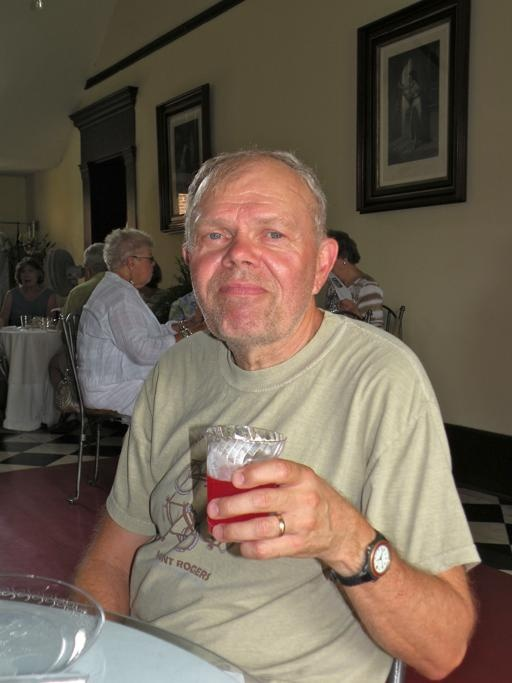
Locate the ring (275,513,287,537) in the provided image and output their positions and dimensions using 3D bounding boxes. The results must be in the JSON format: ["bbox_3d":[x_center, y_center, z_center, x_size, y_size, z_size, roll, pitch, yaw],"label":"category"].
[{"bbox_3d":[0.023,0.186,0.573,0.013,0.024,0.006,-3,5,-25],"label":"ring"}]

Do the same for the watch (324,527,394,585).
[{"bbox_3d":[0.128,0.275,0.718,0.067,0.038,0.070,-13,21,32],"label":"watch"}]

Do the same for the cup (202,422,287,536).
[{"bbox_3d":[-0.016,0.160,0.689,0.088,0.110,0.263,-1,4,-4],"label":"cup"}]

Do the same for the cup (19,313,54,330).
[{"bbox_3d":[-2.188,-0.189,5.624,0.285,0.113,0.198,4,1,-1],"label":"cup"}]
